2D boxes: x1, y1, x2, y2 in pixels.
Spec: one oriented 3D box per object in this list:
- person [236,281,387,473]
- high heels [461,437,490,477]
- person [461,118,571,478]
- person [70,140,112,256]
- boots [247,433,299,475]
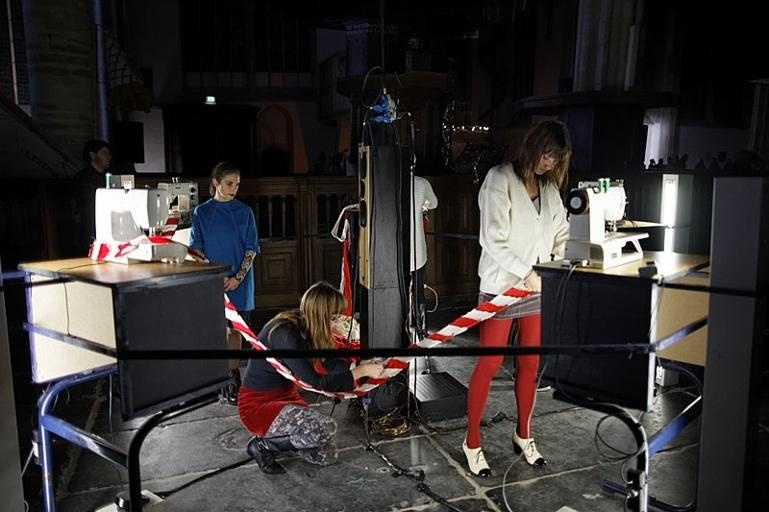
[{"bbox_3d":[-0.525,0.841,3.723,0.905,1.256,0.631,3,4,20],"label":"person"},{"bbox_3d":[0.563,1.268,3.566,0.107,0.116,0.283,-2,12,-27],"label":"high heels"},{"bbox_3d":[0.851,0.278,3.445,0.738,2.153,0.535,-12,15,-40],"label":"person"},{"bbox_3d":[-2.626,-0.507,5.022,0.363,1.040,0.862,-8,13,-28],"label":"person"},{"bbox_3d":[-0.736,1.247,3.595,0.287,0.284,0.143,40,45,8],"label":"boots"}]
